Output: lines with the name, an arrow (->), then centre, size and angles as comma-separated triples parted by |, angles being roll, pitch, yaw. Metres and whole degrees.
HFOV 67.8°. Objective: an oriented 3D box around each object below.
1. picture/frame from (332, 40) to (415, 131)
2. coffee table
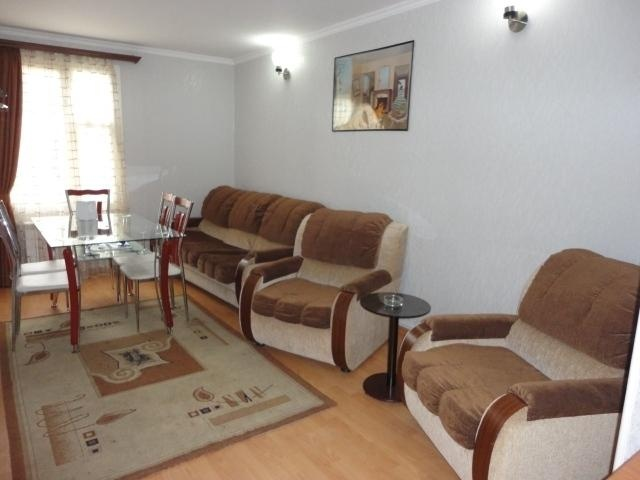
picture/frame -> 0.527, -1.448, 4.453 | 0.016, 0.729, 0.913 | -9, 17, -42
coffee table -> 0.530, 0.791, 3.459 | 0.473, 0.618, 0.490 | 2, 10, 1
